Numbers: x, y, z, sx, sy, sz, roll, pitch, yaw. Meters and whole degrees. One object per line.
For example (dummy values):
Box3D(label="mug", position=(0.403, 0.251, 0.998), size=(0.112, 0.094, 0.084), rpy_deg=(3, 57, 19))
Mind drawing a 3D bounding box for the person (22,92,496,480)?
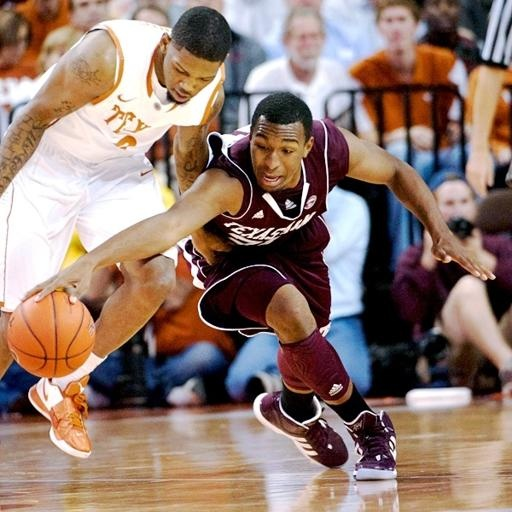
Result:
Box3D(label="person", position=(0.121, 0.123, 2.586), size=(1.027, 1.175, 1.083), rpy_deg=(15, 48, 18))

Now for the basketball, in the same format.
Box3D(label="basketball", position=(-0.566, 0.227, 2.350), size=(0.281, 0.292, 0.261), rpy_deg=(5, 16, 4))
